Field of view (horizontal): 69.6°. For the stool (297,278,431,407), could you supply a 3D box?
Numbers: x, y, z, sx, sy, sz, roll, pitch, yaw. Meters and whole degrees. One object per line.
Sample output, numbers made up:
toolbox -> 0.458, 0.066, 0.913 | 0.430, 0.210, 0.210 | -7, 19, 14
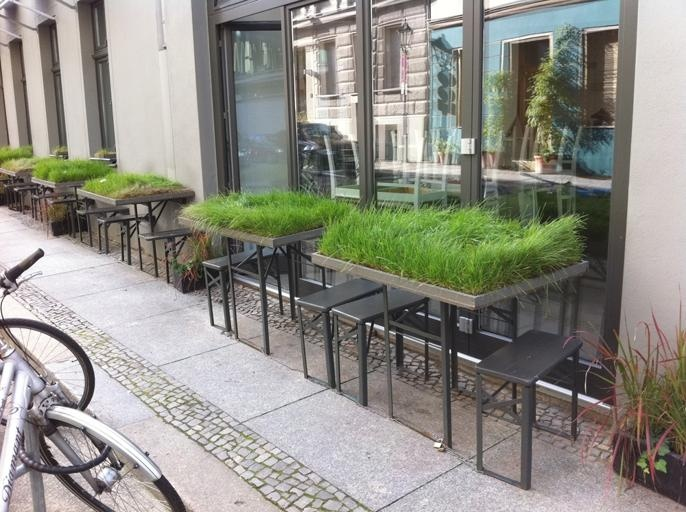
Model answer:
stool -> 0.128, 0.532, 3.646 | 0.828, 0.745, 0.805 | -15, 21, -39

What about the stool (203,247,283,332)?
stool -> -0.985, 0.340, 4.832 | 0.602, 0.577, 0.264 | -19, 29, -36
